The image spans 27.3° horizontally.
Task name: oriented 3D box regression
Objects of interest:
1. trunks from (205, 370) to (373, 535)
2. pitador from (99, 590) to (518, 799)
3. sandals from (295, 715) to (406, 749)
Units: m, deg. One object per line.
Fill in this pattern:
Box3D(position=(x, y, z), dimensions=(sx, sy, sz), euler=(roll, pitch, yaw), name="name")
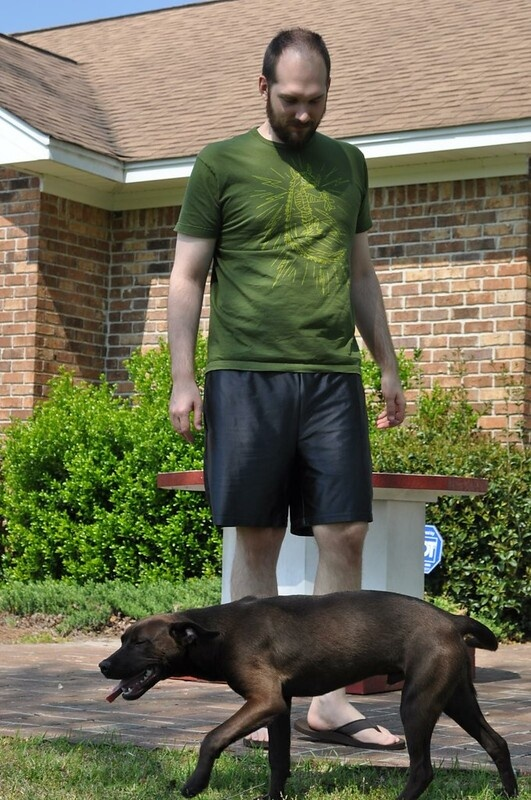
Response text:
Box3D(position=(0.051, 0.131, 3.117), dimensions=(0.511, 0.450, 0.262), euler=(0, -11, -15), name="trunks")
Box3D(position=(0.131, 0.719, 2.580), dimensions=(1.041, 0.515, 0.433), euler=(1, -5, -11), name="pitador")
Box3D(position=(0.244, 1.007, 3.332), dimensions=(0.344, 0.094, 0.124), euler=(-3, -4, 30), name="sandals")
